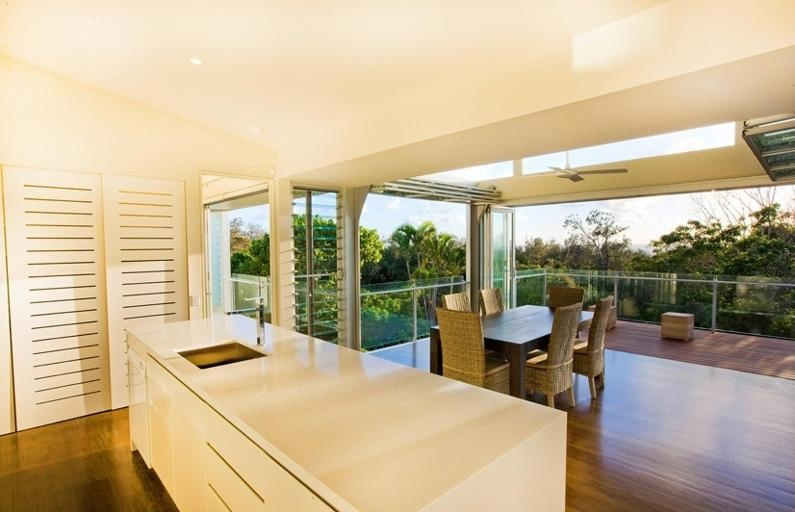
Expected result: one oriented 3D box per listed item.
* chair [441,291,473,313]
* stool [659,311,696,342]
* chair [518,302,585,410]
[{"bbox_3d":[0.839,0.666,6.960,0.269,0.483,0.365,2,-3,-34],"label":"chair"},{"bbox_3d":[4.966,1.223,8.681,0.608,0.575,0.446,5,7,44],"label":"stool"},{"bbox_3d":[1.913,1.208,5.943,0.644,1.232,0.737,-3,-1,22],"label":"chair"}]
